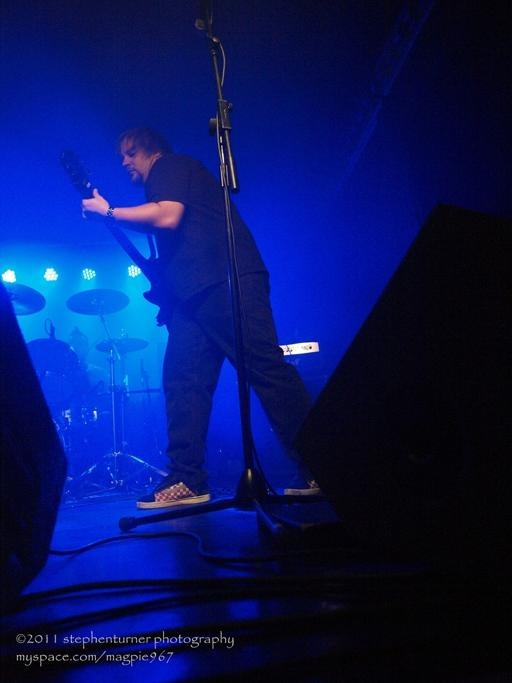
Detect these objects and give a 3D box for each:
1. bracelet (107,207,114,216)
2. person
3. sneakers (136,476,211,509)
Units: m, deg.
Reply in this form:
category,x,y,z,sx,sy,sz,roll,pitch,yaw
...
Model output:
category,x,y,z,sx,sy,sz,roll,pitch,yaw
bracelet,-0.461,-0.408,1.901,0.017,0.030,0.008,0,-2,20
person,-0.193,-0.133,1.990,0.610,1.415,0.421,-8,-22,-4
sneakers,-0.236,0.448,1.810,0.241,0.135,0.094,5,-22,-15
